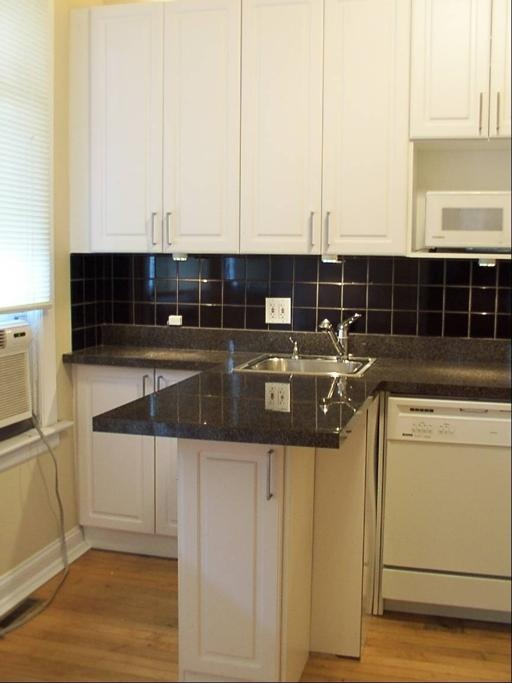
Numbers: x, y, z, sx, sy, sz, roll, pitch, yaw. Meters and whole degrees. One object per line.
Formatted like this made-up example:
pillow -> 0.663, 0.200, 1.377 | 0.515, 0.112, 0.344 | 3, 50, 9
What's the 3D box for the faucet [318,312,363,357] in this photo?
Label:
faucet -> 0.350, -0.020, 2.510 | 0.187, 0.186, 0.322 | 0, 3, 8
